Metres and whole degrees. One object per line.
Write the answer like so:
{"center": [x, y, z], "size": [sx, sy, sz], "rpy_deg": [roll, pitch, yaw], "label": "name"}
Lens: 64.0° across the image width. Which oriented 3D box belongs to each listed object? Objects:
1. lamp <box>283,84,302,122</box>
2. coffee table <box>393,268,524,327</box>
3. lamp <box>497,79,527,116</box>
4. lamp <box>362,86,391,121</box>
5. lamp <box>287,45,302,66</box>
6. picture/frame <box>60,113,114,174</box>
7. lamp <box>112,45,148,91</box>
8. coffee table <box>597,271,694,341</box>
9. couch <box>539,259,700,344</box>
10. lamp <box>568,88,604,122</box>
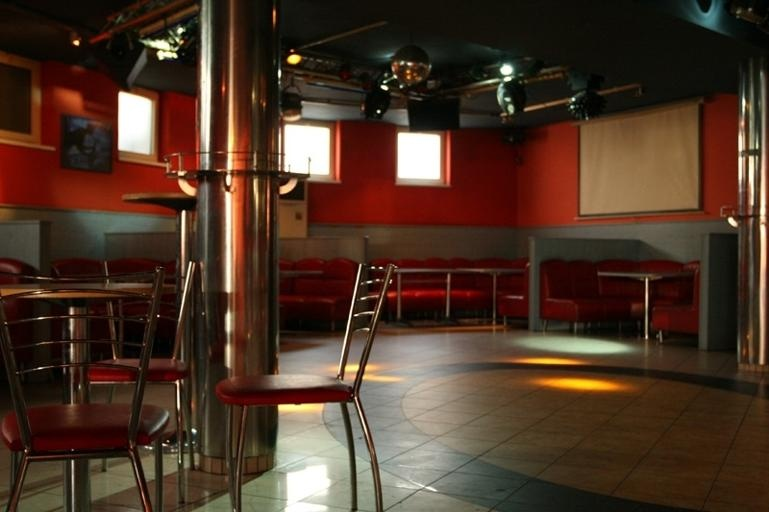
{"center": [-1.534, -2.516, 10.063], "size": [0.305, 0.602, 1.011], "rpy_deg": [-1, 0, -9], "label": "lamp"}
{"center": [1.280, 0.709, 11.197], "size": [2.503, 1.021, 1.896], "rpy_deg": [0, 0, -16], "label": "coffee table"}
{"center": [1.903, -2.374, 9.226], "size": [0.389, 0.529, 0.406], "rpy_deg": [-1, 0, 6], "label": "lamp"}
{"center": [-0.110, -2.393, 9.659], "size": [0.418, 0.489, 0.369], "rpy_deg": [-1, 0, 38], "label": "lamp"}
{"center": [-1.256, -2.774, 8.487], "size": [0.221, 0.233, 0.329], "rpy_deg": [-1, 0, -8], "label": "lamp"}
{"center": [-4.455, -1.664, 9.108], "size": [0.113, 0.913, 1.112], "rpy_deg": [-2, -3, 40], "label": "picture/frame"}
{"center": [-3.217, -2.392, 7.816], "size": [0.284, 0.479, 0.754], "rpy_deg": [-1, 0, -39], "label": "lamp"}
{"center": [4.087, 0.766, 9.649], "size": [1.286, 1.052, 1.204], "rpy_deg": [2, -4, -29], "label": "coffee table"}
{"center": [3.669, 0.605, 9.777], "size": [2.092, 0.979, 1.438], "rpy_deg": [2, -4, -20], "label": "couch"}
{"center": [3.097, -2.324, 9.572], "size": [0.536, 0.333, 0.514], "rpy_deg": [-8, 3, -44], "label": "lamp"}
